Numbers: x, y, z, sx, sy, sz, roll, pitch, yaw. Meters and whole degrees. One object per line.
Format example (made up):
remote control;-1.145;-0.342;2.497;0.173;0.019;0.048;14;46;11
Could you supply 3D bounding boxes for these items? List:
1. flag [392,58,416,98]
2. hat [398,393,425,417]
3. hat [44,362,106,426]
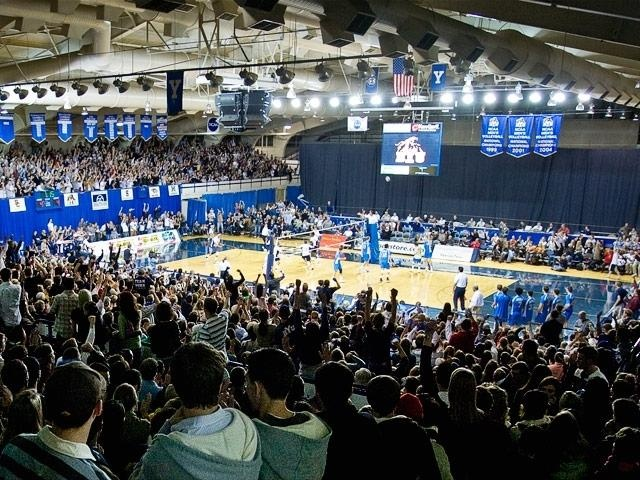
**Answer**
flag;3.332;-6.355;20.055;0.859;1.824;0.047;4;-19;-2
hat;0.839;1.510;4.654;0.227;0.160;0.210;6;10;20
hat;-1.536;0.955;3.163;0.314;0.332;0.246;1;9;-8
